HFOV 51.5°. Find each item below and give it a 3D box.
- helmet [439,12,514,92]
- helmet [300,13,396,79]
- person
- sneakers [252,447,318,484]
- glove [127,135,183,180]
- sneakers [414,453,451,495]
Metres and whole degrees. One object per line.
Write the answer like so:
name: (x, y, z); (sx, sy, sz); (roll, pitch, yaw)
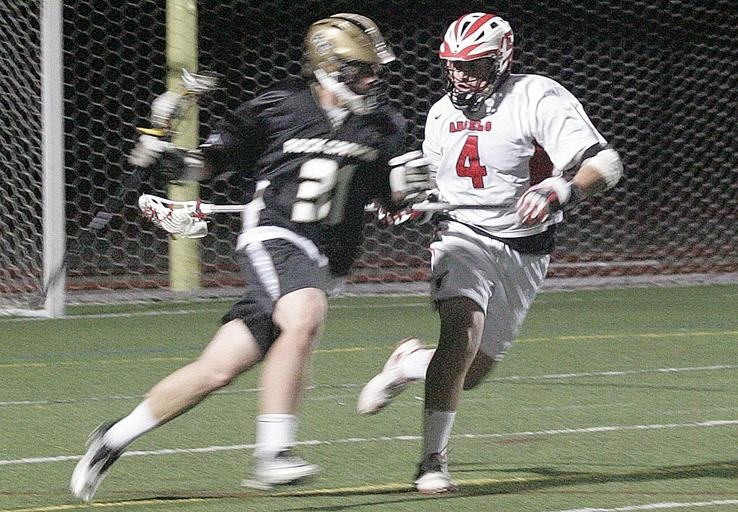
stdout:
helmet: (0.436, -0.859, 3.190); (0.382, 0.240, 0.284); (-18, 32, -27)
helmet: (-0.074, -0.753, 2.799); (0.378, 0.215, 0.245); (2, 27, 13)
person: (0.036, -0.088, 2.818); (1.770, 1.787, 0.771); (-5, 10, -36)
sneakers: (-0.276, 0.669, 2.461); (0.264, 0.100, 0.085); (-2, 13, -3)
glove: (-0.756, -0.347, 2.680); (0.213, 0.161, 0.123); (1, 8, 9)
sneakers: (0.224, 0.762, 2.663); (0.197, 0.135, 0.106); (-5, -20, 8)
